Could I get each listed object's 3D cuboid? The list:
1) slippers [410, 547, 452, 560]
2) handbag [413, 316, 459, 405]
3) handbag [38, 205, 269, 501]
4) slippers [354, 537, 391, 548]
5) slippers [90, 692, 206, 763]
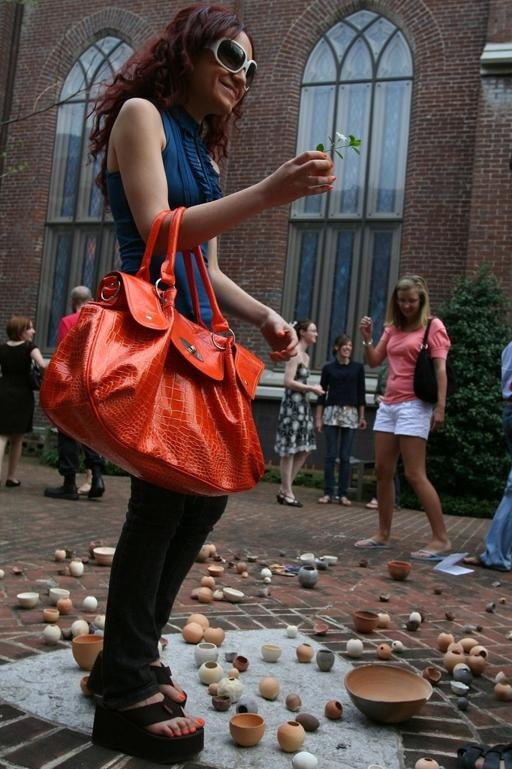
[{"bbox_3d":[1.330,1.272,5.039,0.227,0.054,0.122,8,-14,-30],"label":"slippers"},{"bbox_3d":[1.333,-0.174,5.147,0.183,0.591,0.201,8,3,44],"label":"handbag"},{"bbox_3d":[-0.212,-0.002,1.604,0.328,0.404,0.579,7,4,44],"label":"handbag"},{"bbox_3d":[0.939,1.264,5.360,0.275,0.093,0.093,4,-11,-4],"label":"slippers"},{"bbox_3d":[-0.270,0.844,1.679,0.257,0.098,0.139,1,-2,15],"label":"slippers"}]
